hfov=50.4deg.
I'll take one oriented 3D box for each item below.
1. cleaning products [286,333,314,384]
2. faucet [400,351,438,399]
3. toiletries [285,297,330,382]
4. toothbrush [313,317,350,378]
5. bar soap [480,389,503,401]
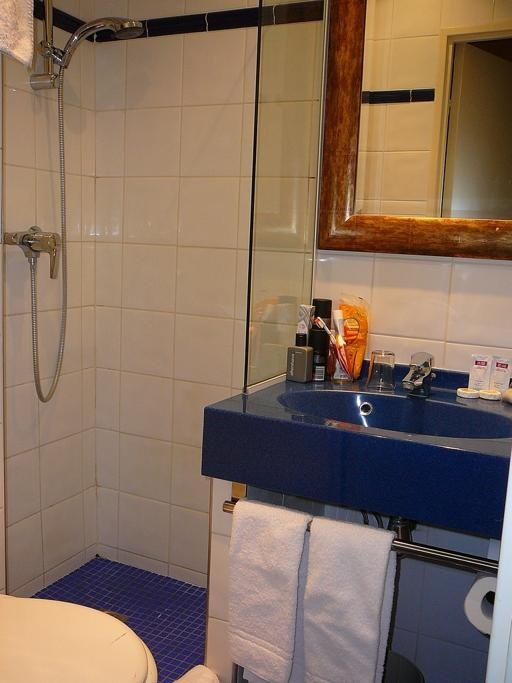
[{"bbox_3d":[0.111,0.046,1.400,0.059,0.135,0.041,8,15,28],"label":"cleaning products"},{"bbox_3d":[0.391,0.081,1.313,0.066,0.118,0.070,9,12,30],"label":"faucet"},{"bbox_3d":[0.148,-0.001,1.415,0.073,0.287,0.145,6,8,31],"label":"toiletries"},{"bbox_3d":[0.207,0.021,1.413,0.052,0.218,0.053,-20,-4,19],"label":"toothbrush"},{"bbox_3d":[0.552,0.129,1.289,0.051,0.023,0.028,9,12,25],"label":"bar soap"}]
